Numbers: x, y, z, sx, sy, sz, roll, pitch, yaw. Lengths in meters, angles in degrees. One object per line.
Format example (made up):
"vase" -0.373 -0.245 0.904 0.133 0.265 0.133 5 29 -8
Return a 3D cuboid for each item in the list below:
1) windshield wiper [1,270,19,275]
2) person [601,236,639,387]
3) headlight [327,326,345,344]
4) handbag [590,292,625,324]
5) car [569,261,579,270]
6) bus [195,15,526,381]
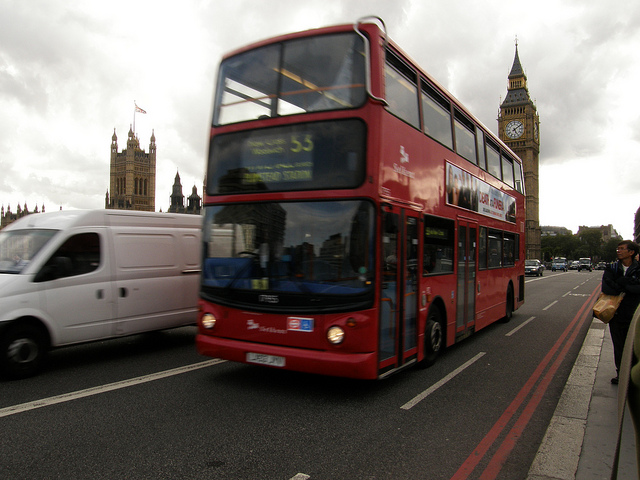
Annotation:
"windshield wiper" -5.084 0.535 7.678 0.294 0.053 0.031 4 -6 23
"person" 4.410 0.903 6.863 0.468 1.790 0.415 1 1 34
"headlight" 0.222 1.247 6.248 0.204 0.233 0.207 0 2 15
"handbag" 4.213 0.971 6.908 0.216 0.417 0.297 23 7 22
"car" 49.770 5.030 91.315 1.331 1.295 2.353 -3 -5 34
"bus" 0.422 -0.304 7.123 2.271 3.251 6.231 -1 -2 31
